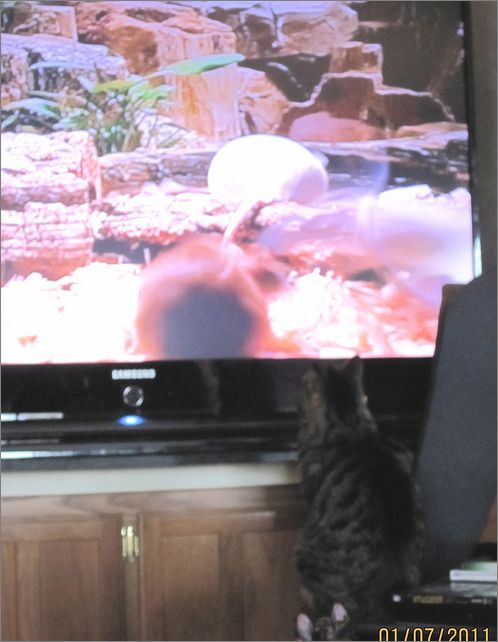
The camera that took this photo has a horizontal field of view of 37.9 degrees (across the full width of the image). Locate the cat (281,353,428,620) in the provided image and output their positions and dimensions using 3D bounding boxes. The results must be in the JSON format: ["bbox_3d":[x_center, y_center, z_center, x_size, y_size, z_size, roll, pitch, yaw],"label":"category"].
[{"bbox_3d":[0.179,0.339,1.522,0.199,0.494,0.274,0,-14,-5],"label":"cat"}]
